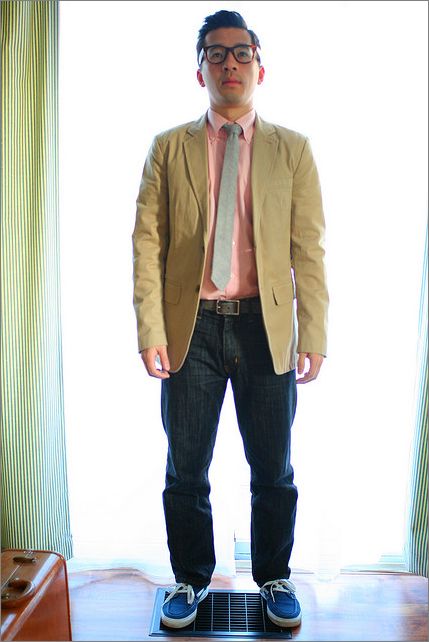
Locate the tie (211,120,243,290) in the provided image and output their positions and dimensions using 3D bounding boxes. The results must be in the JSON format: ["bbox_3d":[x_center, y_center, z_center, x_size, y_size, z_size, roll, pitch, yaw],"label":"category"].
[{"bbox_3d":[0.039,-0.295,1.477,0.056,0.436,0.057,3,-12,9],"label":"tie"}]

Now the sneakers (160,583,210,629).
[{"bbox_3d":[-0.100,0.784,1.615,0.054,0.065,0.158,5,-3,12],"label":"sneakers"}]

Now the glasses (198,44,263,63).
[{"bbox_3d":[0.034,-0.674,1.481,0.145,0.055,0.075,0,5,-2],"label":"glasses"}]

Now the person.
[{"bbox_3d":[0.041,0.026,1.562,0.516,1.640,0.231,-1,5,-9],"label":"person"}]

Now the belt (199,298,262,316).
[{"bbox_3d":[0.042,-0.038,1.531,0.161,0.048,0.028,-1,5,-6],"label":"belt"}]

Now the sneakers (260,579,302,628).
[{"bbox_3d":[0.189,0.799,1.663,0.080,0.090,0.235,3,-5,-8],"label":"sneakers"}]
